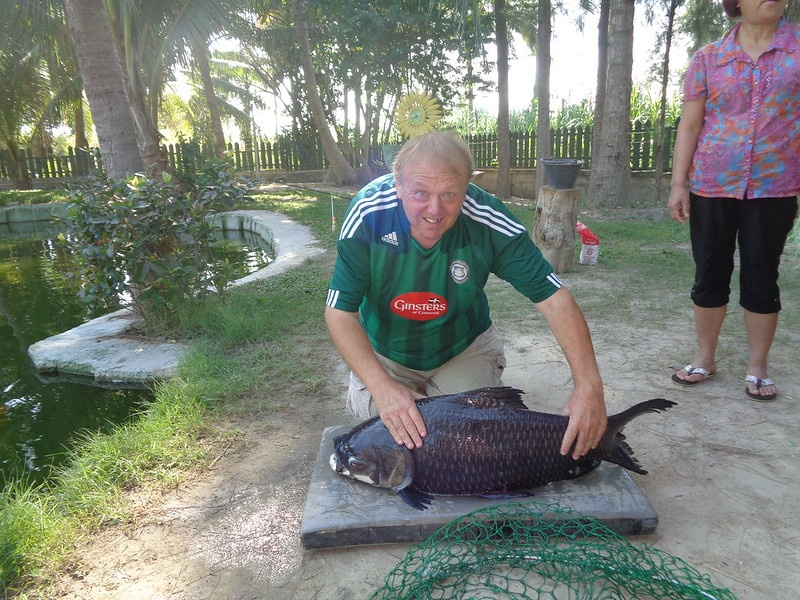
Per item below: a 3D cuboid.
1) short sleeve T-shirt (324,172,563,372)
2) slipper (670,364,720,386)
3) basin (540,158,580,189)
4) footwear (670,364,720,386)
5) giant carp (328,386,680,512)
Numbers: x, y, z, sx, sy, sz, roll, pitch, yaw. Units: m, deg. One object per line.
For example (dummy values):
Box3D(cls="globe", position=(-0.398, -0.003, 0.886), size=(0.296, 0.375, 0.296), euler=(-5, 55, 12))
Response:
Box3D(cls="short sleeve T-shirt", position=(0.180, -0.142, 3.406), size=(1.548, 1.253, 0.894), euler=(-2, 25, -2))
Box3D(cls="slipper", position=(1.916, 0.474, 3.828), size=(0.289, 0.070, 0.117), euler=(-3, 18, -15))
Box3D(cls="basin", position=(1.811, -1.373, 6.602), size=(0.430, 0.300, 0.434), euler=(-1, 9, 0))
Box3D(cls="footwear", position=(1.924, 0.469, 3.830), size=(0.289, 0.070, 0.117), euler=(-3, 18, -15))
Box3D(cls="giant carp", position=(0.464, 0.701, 2.862), size=(1.594, 0.569, 0.489), euler=(0, 20, 2))
